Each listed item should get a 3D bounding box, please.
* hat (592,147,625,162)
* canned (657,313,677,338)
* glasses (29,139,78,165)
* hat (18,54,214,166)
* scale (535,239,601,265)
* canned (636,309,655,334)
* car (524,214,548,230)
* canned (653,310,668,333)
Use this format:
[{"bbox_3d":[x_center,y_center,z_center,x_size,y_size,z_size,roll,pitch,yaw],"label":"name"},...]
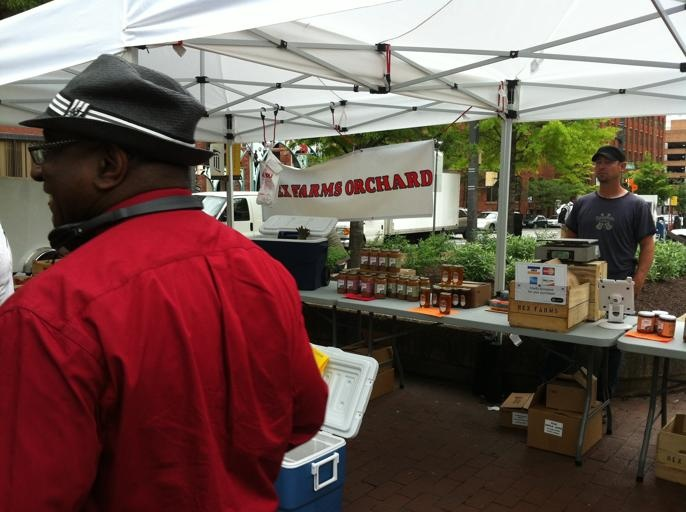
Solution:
[{"bbox_3d":[2.403,-0.910,5.360,0.240,0.086,0.162,0,6,-33],"label":"hat"},{"bbox_3d":[2.370,0.516,4.430,0.157,0.173,0.159,2,1,25],"label":"canned"},{"bbox_3d":[-0.786,-0.292,1.646,0.114,0.036,0.122,1,9,36],"label":"glasses"},{"bbox_3d":[-0.601,-0.424,1.662,0.521,0.209,0.441,17,19,3],"label":"hat"},{"bbox_3d":[1.841,-0.044,4.948,0.487,0.195,0.337,2,9,19],"label":"scale"},{"bbox_3d":[2.292,0.502,4.526,0.128,0.145,0.128,2,9,20],"label":"canned"},{"bbox_3d":[14.508,-2.590,44.772,1.698,0.849,0.954,0,1,-34],"label":"car"},{"bbox_3d":[2.351,0.492,4.450,0.144,0.154,0.149,2,3,37],"label":"canned"}]
